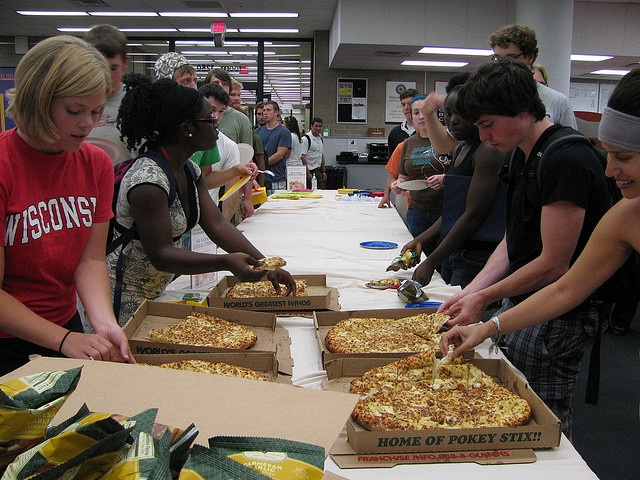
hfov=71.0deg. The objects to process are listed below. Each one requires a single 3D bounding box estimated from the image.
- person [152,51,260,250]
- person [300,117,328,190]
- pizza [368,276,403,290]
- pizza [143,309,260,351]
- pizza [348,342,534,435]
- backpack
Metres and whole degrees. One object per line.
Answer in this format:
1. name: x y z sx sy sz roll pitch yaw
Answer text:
1. person: -0.981 -0.632 3.665 0.766 0.517 1.854 -17 26 -13
2. person: -0.081 -1.559 8.143 0.538 1.247 0.364 -6 17 -25
3. pizza: 0.334 0.219 2.279 0.117 0.027 0.073 -1 15 15
4. pizza: -0.417 0.340 1.660 0.375 0.044 0.261 5 14 14
5. pizza: 0.344 0.437 1.290 0.511 0.087 0.366 2 14 2
6. backpack: -0.735 -0.210 2.016 0.416 0.520 0.403 10 18 -3
